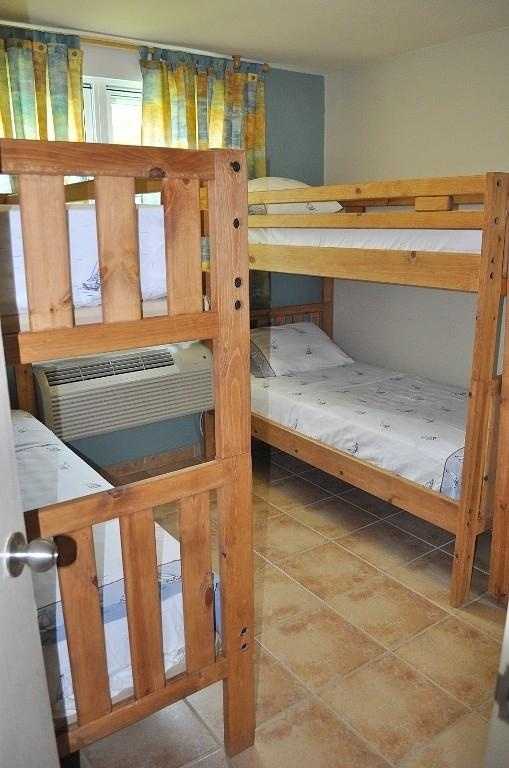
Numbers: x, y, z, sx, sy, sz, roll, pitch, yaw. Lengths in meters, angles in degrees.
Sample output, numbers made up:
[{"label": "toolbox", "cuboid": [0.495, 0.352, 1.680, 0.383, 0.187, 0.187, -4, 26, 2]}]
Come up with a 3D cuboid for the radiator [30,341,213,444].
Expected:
[{"label": "radiator", "cuboid": [-0.703, 0.038, 3.102, 0.932, 0.396, 0.409, -12, 6, -31]}]
